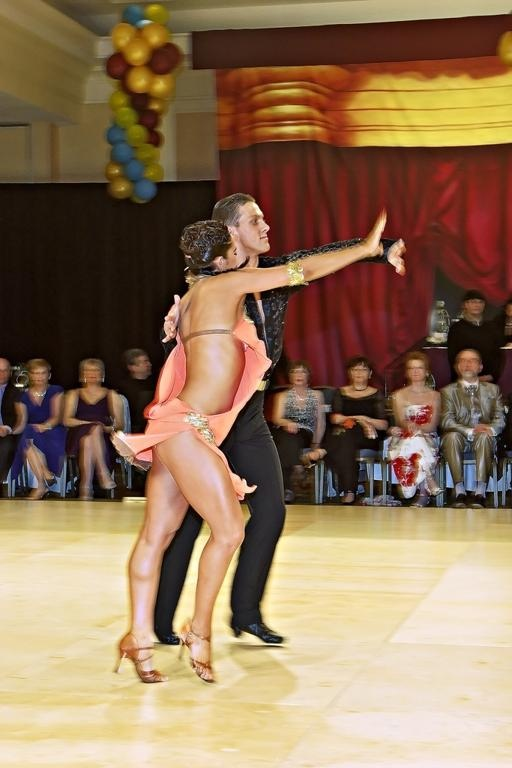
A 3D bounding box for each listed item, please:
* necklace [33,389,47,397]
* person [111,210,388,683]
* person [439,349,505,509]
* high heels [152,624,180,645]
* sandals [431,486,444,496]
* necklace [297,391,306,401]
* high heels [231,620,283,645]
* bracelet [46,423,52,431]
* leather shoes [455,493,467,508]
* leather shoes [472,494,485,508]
[{"bbox_3d":[-2.028,0.096,6.769,0.100,0.082,0.021,1,-11,14],"label":"necklace"},{"bbox_3d":[-0.060,0.161,1.812,0.589,1.202,0.394,0,-1,-10],"label":"person"},{"bbox_3d":[1.838,0.368,6.119,0.488,1.320,0.453,-1,-1,28],"label":"person"},{"bbox_3d":[-0.276,0.778,2.235,0.083,0.064,0.060,-2,-5,6],"label":"high heels"},{"bbox_3d":[1.519,0.923,6.094,0.049,0.054,0.142,-4,-4,-39],"label":"sandals"},{"bbox_3d":[0.406,0.116,6.299,0.091,0.076,0.024,-1,-10,2],"label":"necklace"},{"bbox_3d":[0.015,0.771,2.277,0.187,0.065,0.064,9,-2,16],"label":"high heels"},{"bbox_3d":[-1.911,0.402,6.649,0.053,0.053,0.050,5,-21,-12],"label":"bracelet"},{"bbox_3d":[1.719,0.982,6.036,0.115,0.111,0.198,0,-2,16],"label":"leather shoes"},{"bbox_3d":[1.857,0.981,5.984,0.109,0.113,0.150,0,-2,16],"label":"leather shoes"}]
